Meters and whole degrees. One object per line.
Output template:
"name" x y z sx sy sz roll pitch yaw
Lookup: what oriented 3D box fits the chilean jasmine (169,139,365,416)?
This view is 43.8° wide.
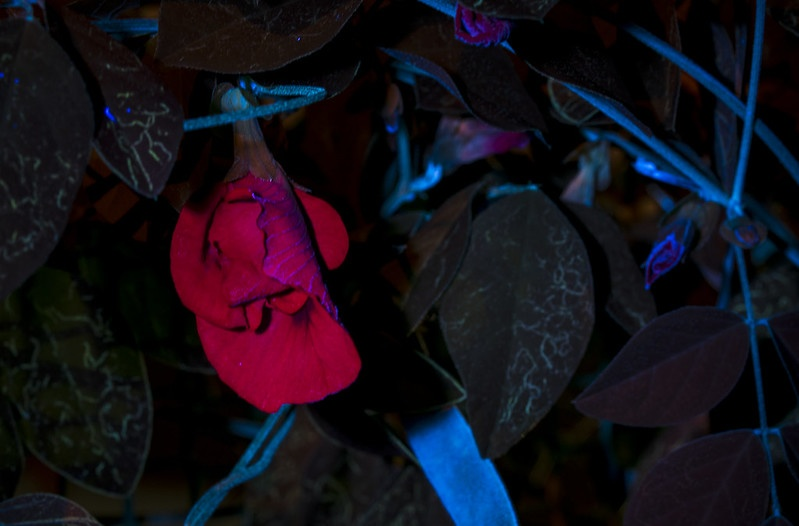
"chilean jasmine" -0.080 0.003 0.578 0.100 0.144 0.049 -6 3 5
